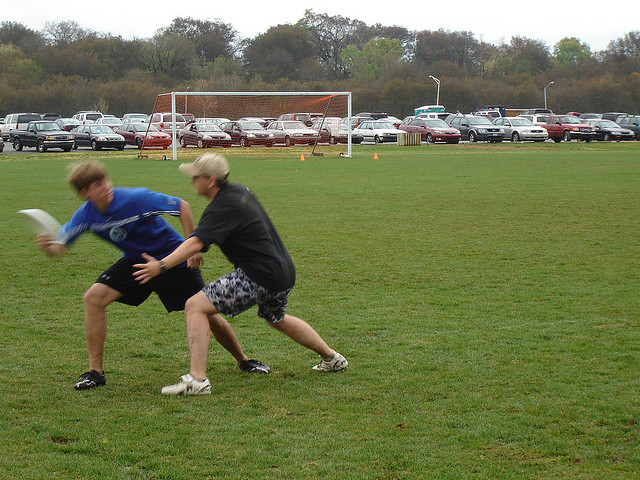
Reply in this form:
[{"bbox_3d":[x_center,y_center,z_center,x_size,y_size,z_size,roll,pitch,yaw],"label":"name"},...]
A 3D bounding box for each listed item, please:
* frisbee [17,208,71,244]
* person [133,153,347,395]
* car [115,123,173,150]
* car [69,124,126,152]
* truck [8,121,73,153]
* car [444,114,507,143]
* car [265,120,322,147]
[{"bbox_3d":[-2.265,-0.154,7.154,0.359,0.299,0.401,10,16,33],"label":"frisbee"},{"bbox_3d":[-0.767,0.194,6.998,1.307,2.051,0.872,0,1,15],"label":"person"},{"bbox_3d":[-7.875,-4.729,38.115,1.420,0.907,3.051,-3,6,-39],"label":"car"},{"bbox_3d":[-9.738,-4.489,37.005,2.422,1.177,1.393,7,10,41],"label":"car"},{"bbox_3d":[-12.187,-4.537,37.315,1.404,0.983,3.011,-3,3,-43],"label":"truck"},{"bbox_3d":[7.786,-5.554,41.932,1.509,0.998,2.965,-4,7,-29],"label":"car"},{"bbox_3d":[-1.241,-4.950,40.412,2.710,1.339,2.118,-8,20,-33],"label":"car"}]
